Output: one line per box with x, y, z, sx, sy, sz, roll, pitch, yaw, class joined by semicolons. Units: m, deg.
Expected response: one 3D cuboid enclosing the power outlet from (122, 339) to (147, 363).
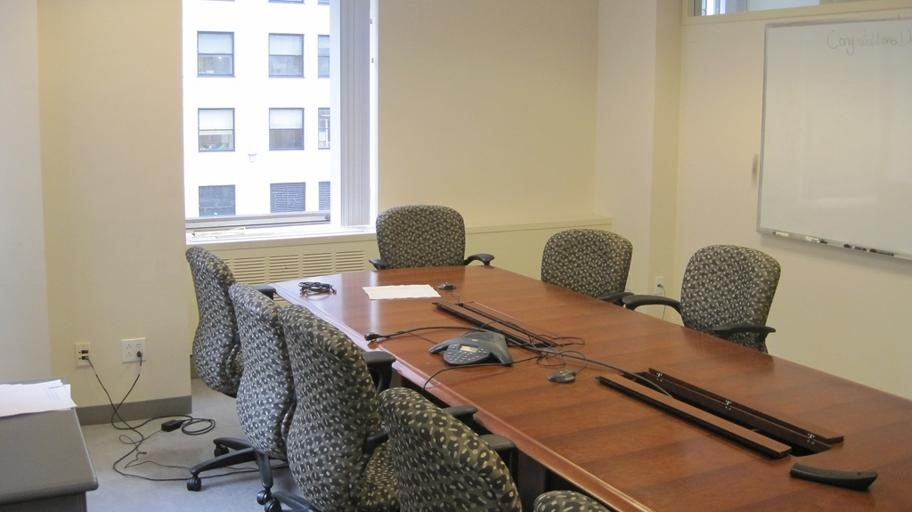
-2.591;0.748;4.860;0.228;0.210;0.023;2;1;-30;power outlet

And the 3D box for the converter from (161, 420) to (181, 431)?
-2.275;1.343;4.830;0.071;0.038;0.132;4;4;44;converter
